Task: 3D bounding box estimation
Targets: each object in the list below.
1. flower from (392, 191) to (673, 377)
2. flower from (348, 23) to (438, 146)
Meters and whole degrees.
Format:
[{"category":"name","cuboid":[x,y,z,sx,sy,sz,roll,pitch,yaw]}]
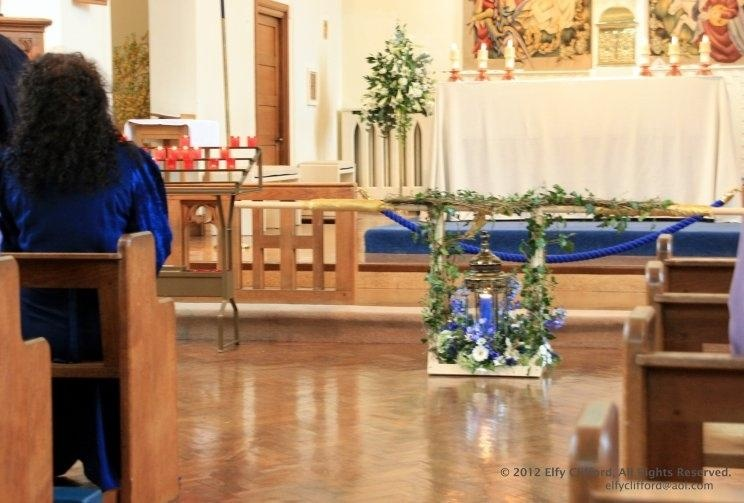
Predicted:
[{"category":"flower","cuboid":[1.002,0.215,5.660,2.001,0.798,0.557,0,12,6]},{"category":"flower","cuboid":[0.311,-2.190,11.824,0.976,1.546,1.508,-1,6,0]}]
